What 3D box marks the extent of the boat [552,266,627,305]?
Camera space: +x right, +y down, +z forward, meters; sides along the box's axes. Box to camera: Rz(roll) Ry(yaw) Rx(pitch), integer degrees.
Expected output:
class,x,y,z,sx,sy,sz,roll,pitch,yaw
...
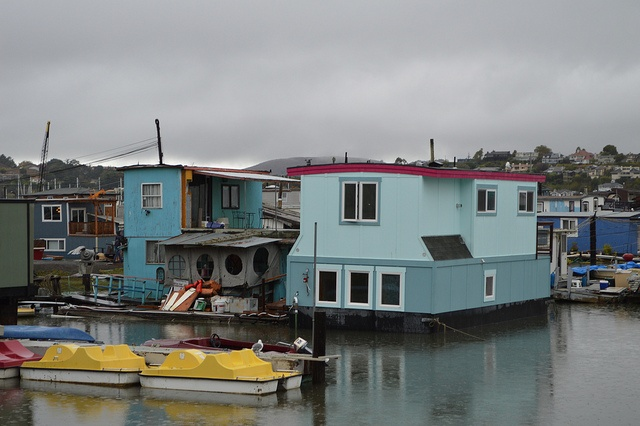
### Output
class,x,y,z,sx,sy,sz,roll,pitch,yaw
boat,16.652,3.824,63.669,4.387,1.850,5.542,6,14,19
